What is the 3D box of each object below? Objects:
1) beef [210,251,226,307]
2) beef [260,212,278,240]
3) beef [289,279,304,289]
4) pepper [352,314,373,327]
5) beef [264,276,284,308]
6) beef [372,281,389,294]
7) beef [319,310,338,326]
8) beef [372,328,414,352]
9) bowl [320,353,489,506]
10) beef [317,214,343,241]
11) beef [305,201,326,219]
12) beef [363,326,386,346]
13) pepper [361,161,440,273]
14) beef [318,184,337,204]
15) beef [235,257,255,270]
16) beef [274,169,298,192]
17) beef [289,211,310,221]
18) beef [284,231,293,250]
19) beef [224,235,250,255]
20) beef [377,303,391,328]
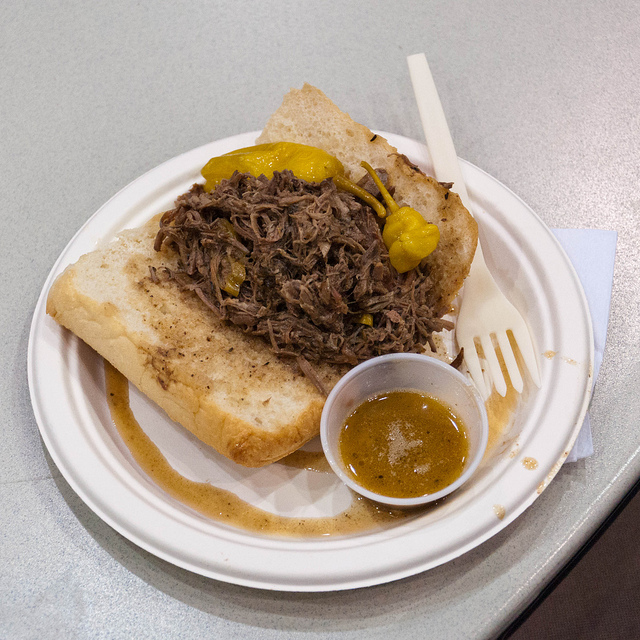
[{"bbox_3d":[-0.316,-0.118,2.220,0.032,0.021,0.185,-4,80,-27],"label":"beef"},{"bbox_3d":[-0.152,-0.280,2.172,0.045,0.028,0.077,-21,88,4],"label":"beef"},{"bbox_3d":[-0.073,-0.107,2.136,0.033,0.009,0.020,21,51,22],"label":"beef"},{"bbox_3d":[0.134,0.001,2.226,0.041,0.039,0.026,-3,92,21],"label":"pepper"},{"bbox_3d":[-0.143,-0.085,2.207,0.061,0.091,0.023,6,23,27],"label":"beef"},{"bbox_3d":[0.178,-0.096,2.215,0.041,0.012,0.038,30,50,-8],"label":"beef"},{"bbox_3d":[0.024,-0.007,2.172,0.046,0.012,0.040,-23,108,-6],"label":"beef"},{"bbox_3d":[0.226,0.068,2.229,0.088,0.028,0.078,4,76,-4],"label":"beef"},{"bbox_3d":[0.231,0.308,2.087,0.448,0.214,0.456,0,73,0],"label":"bowl"},{"bbox_3d":[0.033,-0.268,2.148,0.083,0.022,0.073,4,75,-13],"label":"beef"},{"bbox_3d":[-0.017,-0.326,2.148,0.048,0.016,0.043,9,57,-13],"label":"beef"},{"bbox_3d":[0.163,0.046,2.220,0.059,0.018,0.055,24,75,13],"label":"beef"},{"bbox_3d":[0.246,-0.340,2.288,0.197,0.133,0.338,-24,77,-21],"label":"pepper"},{"bbox_3d":[0.016,-0.380,2.189,0.020,0.023,0.101,24,50,34],"label":"beef"},{"bbox_3d":[-0.229,-0.173,2.209,0.044,0.013,0.043,-42,89,4],"label":"beef"},{"bbox_3d":[-0.108,-0.428,2.196,0.071,0.025,0.062,-1,78,6],"label":"beef"},{"bbox_3d":[-0.051,-0.307,2.152,0.035,0.010,0.033,-16,45,-18],"label":"beef"},{"bbox_3d":[-0.098,-0.236,2.170,0.014,0.016,0.056,3,91,-2],"label":"beef"},{"bbox_3d":[-0.253,-0.228,2.198,0.105,0.038,0.029,37,48,10],"label":"beef"},{"bbox_3d":[0.190,0.001,2.234,0.021,0.110,0.030,21,29,-1],"label":"beef"}]
